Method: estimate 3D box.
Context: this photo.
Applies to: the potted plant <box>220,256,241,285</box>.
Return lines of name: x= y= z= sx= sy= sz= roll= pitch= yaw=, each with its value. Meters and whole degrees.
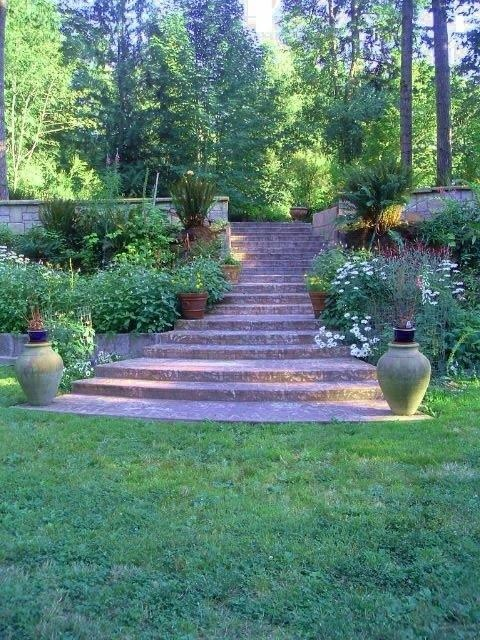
potted plant: x=-0.146 y=-0.881 z=10.408 sx=0.362 sy=0.504 sz=0.413 roll=-1 pitch=0 yaw=-2

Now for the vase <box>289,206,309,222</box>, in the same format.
vase: x=1.851 y=-3.315 z=18.640 sx=0.487 sy=0.407 sz=0.520 roll=1 pitch=10 yaw=9

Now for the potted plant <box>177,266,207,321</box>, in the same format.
potted plant: x=-0.641 y=-0.376 z=8.640 sx=0.392 sy=0.676 sz=0.377 roll=3 pitch=2 yaw=33

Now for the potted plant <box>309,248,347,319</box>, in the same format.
potted plant: x=1.152 y=-0.515 z=8.624 sx=0.481 sy=1.008 sz=0.494 roll=15 pitch=10 yaw=6
